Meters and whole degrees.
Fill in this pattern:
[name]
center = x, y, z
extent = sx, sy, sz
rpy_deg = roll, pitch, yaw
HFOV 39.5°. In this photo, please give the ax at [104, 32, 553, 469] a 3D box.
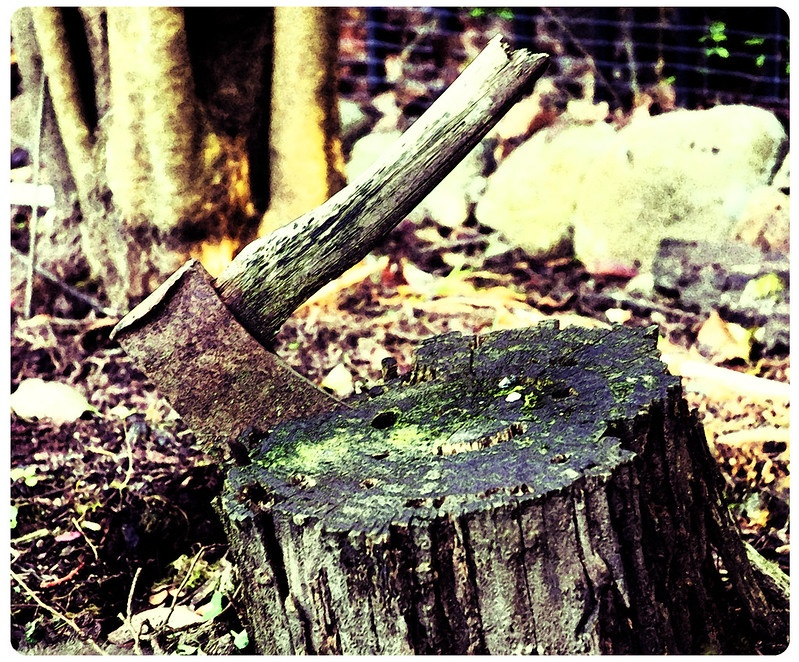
[ax]
center = -0.426, -0.368, 5.533
extent = 1.324, 2.716, 0.450
rpy_deg = 35, 1, -2
